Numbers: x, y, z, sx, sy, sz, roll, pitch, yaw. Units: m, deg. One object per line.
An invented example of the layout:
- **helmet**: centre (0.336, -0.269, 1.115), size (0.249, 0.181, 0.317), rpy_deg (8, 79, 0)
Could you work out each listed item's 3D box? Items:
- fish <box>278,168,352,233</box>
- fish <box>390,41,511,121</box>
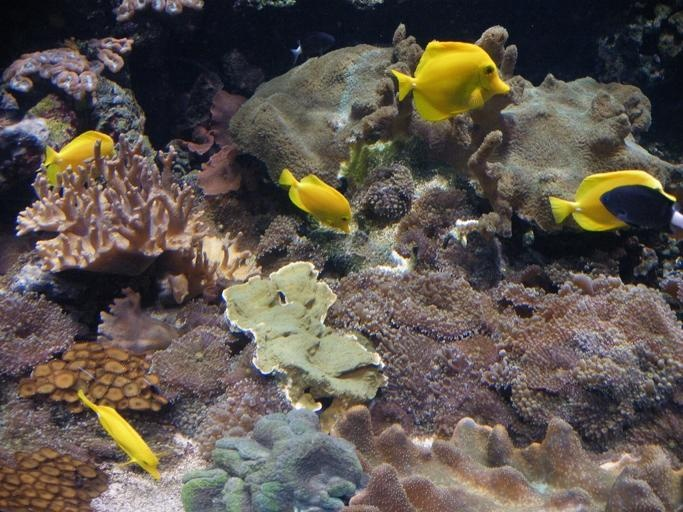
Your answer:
- **fish**: centre (-0.250, -0.499, 8.635), size (0.725, 0.464, 0.222), rpy_deg (26, 65, 18)
- **fish**: centre (0.999, -1.521, 8.526), size (0.757, 0.222, 0.615), rpy_deg (-7, 91, 4)
